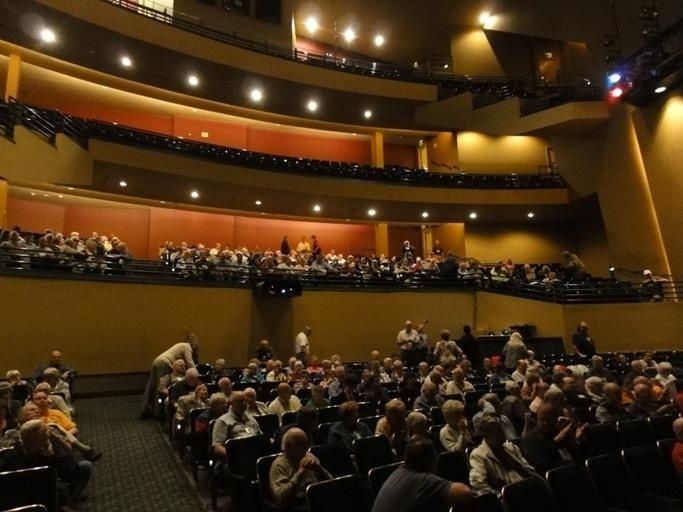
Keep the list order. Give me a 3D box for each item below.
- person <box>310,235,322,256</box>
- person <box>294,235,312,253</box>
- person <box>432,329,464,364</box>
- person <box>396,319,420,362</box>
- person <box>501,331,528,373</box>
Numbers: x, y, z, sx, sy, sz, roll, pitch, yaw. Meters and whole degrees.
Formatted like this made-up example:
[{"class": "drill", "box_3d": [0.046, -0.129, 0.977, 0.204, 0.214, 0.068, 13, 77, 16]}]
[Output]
[{"class": "person", "box_3d": [-0.975, -0.392, 19.566, 0.305, 0.297, 0.774, 9, -13, 2]}, {"class": "person", "box_3d": [-1.532, -0.467, 20.417, 0.570, 0.471, 0.834, -2, 34, -5]}, {"class": "person", "box_3d": [2.289, 2.044, 11.299, 0.603, 0.875, 0.532, -7, -1, 6]}, {"class": "person", "box_3d": [1.724, 2.476, 13.482, 0.503, 1.523, 0.461, 1, 6, 1]}, {"class": "person", "box_3d": [3.858, 2.274, 11.689, 0.494, 1.234, 0.408, 5, 15, 11]}]
